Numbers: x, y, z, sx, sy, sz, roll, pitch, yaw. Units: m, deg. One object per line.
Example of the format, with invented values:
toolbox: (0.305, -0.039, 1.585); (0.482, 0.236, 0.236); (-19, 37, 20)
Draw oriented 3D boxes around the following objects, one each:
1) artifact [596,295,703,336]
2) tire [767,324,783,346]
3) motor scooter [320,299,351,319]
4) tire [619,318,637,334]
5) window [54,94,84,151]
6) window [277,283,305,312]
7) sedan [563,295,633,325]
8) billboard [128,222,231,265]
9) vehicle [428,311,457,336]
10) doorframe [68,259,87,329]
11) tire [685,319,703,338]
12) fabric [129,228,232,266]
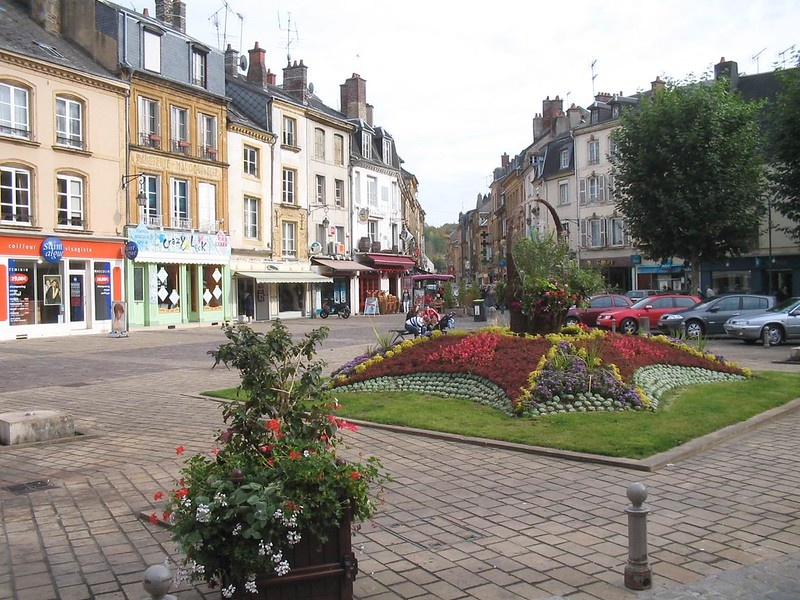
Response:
artifact: (9.461, 0.337, 28.381); (3.931, 1.472, 1.593); (1, 15, -2)
tire: (11.432, 1.002, 23.356); (0.596, 0.633, 0.214); (-2, 3, -23)
motor scooter: (-3.904, 0.515, 45.634); (1.818, 1.205, 0.925); (2, 2, 30)
tire: (8.058, 0.867, 27.051); (0.465, 0.501, 0.175); (-2, -5, 0)
window: (-13.096, -6.992, 30.344); (0.351, 1.903, 1.227); (1, 7, 22)
window: (-6.378, -0.207, 43.799); (0.210, 1.175, 1.601); (-5, -4, 27)
sedan: (6.466, 0.357, 25.080); (1.982, 0.946, 1.032); (1, 0, -10)
billboard: (-10.157, -2.469, 35.375); (0.203, 2.111, 6.253); (2, 7, 26)
vehicle: (1.039, 0.640, 20.059); (0.625, 0.281, 0.479); (-29, -17, 31)
doorframe: (-13.047, -0.334, 30.911); (0.165, 2.429, 0.816); (3, 8, 33)
tire: (9.401, 0.882, 24.475); (0.497, 0.527, 0.176); (-5, -1, -26)
fabric: (-10.363, -2.423, 35.764); (0.809, 1.570, 6.354); (0, 1, 27)
